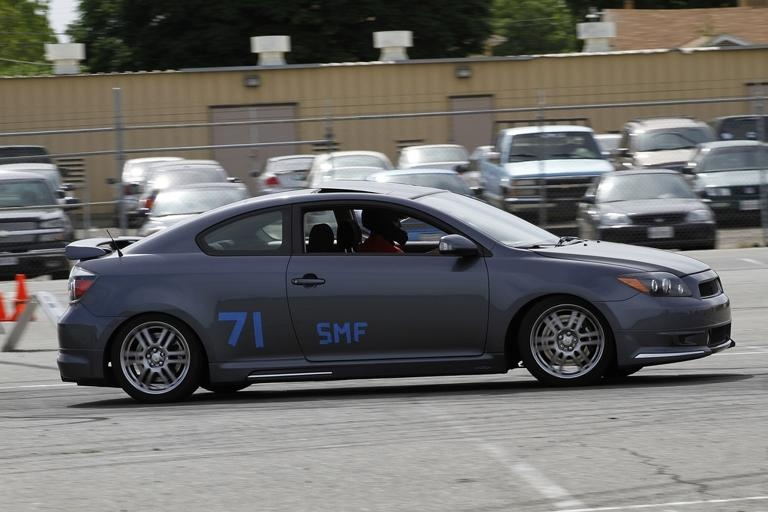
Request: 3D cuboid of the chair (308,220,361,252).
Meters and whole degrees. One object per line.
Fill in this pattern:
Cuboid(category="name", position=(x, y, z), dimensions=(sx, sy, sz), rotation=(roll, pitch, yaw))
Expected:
Cuboid(category="chair", position=(-0.460, -0.170, 8.490), dimensions=(0.516, 0.300, 0.293), rotation=(5, 4, 10))

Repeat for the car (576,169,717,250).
Cuboid(category="car", position=(5.093, -0.969, 18.346), dimensions=(2.152, 0.887, 2.629), rotation=(0, -2, -1))

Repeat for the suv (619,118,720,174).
Cuboid(category="suv", position=(6.903, -2.899, 22.793), dimensions=(1.850, 0.857, 2.242), rotation=(-2, 2, -9))

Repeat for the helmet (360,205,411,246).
Cuboid(category="helmet", position=(-0.008, -0.237, 8.727), dimensions=(0.530, 0.323, 0.377), rotation=(5, 7, -10))

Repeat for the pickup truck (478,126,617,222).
Cuboid(category="pickup truck", position=(3.434, -1.859, 19.781), dimensions=(2.422, 1.180, 3.309), rotation=(-2, 1, -6))
